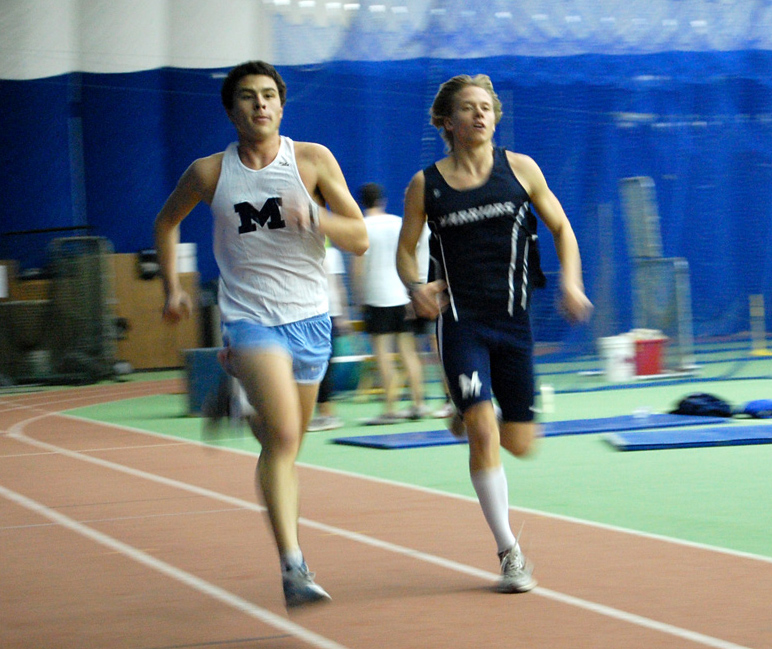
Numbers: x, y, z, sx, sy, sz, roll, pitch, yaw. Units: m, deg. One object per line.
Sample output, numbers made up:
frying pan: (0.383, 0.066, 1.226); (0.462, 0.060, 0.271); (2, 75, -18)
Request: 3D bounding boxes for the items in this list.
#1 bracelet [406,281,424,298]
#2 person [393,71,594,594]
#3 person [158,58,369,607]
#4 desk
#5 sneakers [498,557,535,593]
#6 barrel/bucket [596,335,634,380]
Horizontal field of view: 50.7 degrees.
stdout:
bracelet: (0.102, -0.132, 3.123); (0.060, 0.052, 0.051); (6, -4, -29)
person: (0.415, -0.035, 3.230); (0.638, 1.909, 0.639); (3, 6, 42)
person: (-0.355, -0.057, 2.910); (0.553, 1.771, 0.987); (-5, 6, -38)
desk: (-4.234, -0.187, 11.726); (2.169, 1.308, 1.109); (-1, -3, -4)
sneakers: (0.473, 0.888, 2.939); (0.139, 0.117, 0.095); (-2, 5, -7)
barrel/bucket: (2.823, 0.406, 9.890); (0.391, 0.561, 0.209); (-1, 5, 9)
